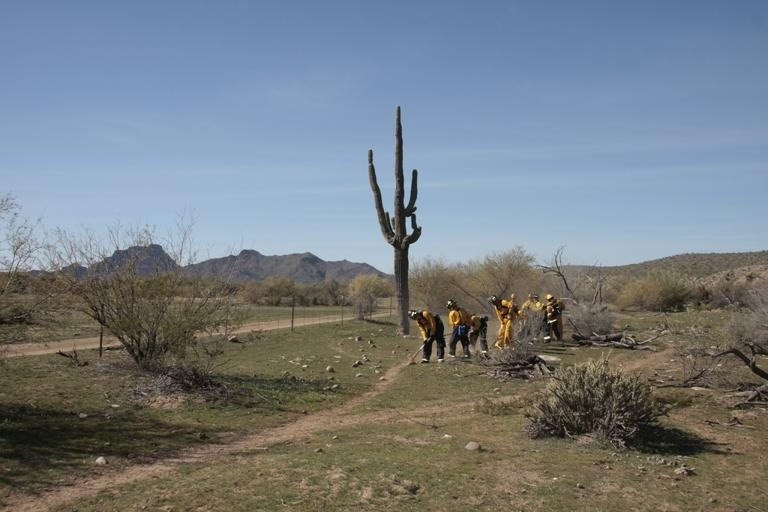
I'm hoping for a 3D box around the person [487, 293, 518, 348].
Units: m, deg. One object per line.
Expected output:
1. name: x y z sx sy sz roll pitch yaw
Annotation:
1. person: 5.223 2.926 26.291 1.301 2.423 1.201 11 -36 -4
